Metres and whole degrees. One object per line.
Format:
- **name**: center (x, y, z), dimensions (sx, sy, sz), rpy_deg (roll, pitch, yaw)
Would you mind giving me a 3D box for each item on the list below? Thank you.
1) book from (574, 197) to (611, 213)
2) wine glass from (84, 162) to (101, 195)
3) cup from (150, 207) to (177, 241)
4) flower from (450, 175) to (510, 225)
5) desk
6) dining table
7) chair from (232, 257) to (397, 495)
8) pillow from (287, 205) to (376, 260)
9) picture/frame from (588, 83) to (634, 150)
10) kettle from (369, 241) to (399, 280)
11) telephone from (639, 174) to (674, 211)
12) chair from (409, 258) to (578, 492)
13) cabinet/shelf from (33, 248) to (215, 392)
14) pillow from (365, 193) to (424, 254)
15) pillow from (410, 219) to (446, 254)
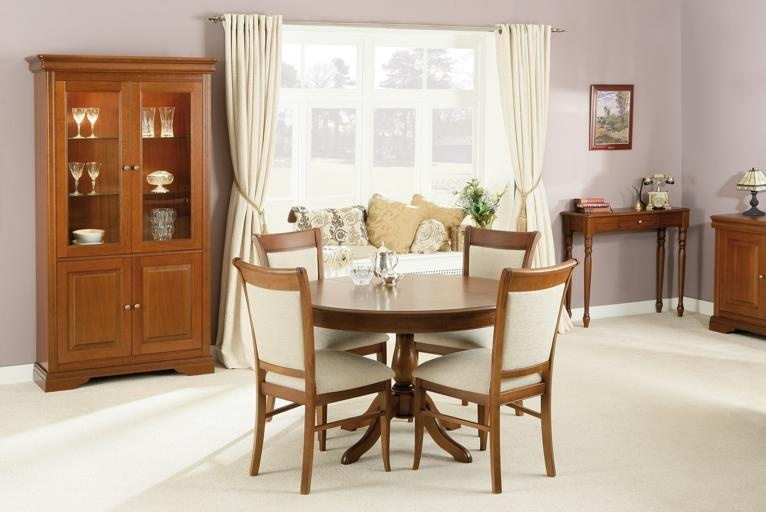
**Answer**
- **book**: center (2.166, -0.518, 6.522), dimensions (0.306, 0.125, 0.297), rpy_deg (-1, 13, -5)
- **wine glass**: center (-2.256, -0.609, 4.962), dimensions (0.113, 0.249, 0.044), rpy_deg (-14, 21, -41)
- **cup**: center (-1.782, -0.251, 5.127), dimensions (0.272, 0.232, 0.206), rpy_deg (1, -1, -18)
- **flower**: center (0.933, -0.511, 6.466), dimensions (0.637, 0.571, 0.510), rpy_deg (-2, 2, -31)
- **desk**: center (2.594, 0.076, 6.776), dimensions (1.344, 1.091, 0.523), rpy_deg (-4, 7, -17)
- **dining table**: center (0.165, 0.770, 4.191), dimensions (1.331, 0.901, 1.226), rpy_deg (-1, -1, 27)
- **chair**: center (-0.371, 0.674, 3.704), dimensions (0.884, 1.297, 0.540), rpy_deg (-4, 16, -13)
- **pillow**: center (-0.463, -0.196, 5.720), dimensions (0.612, 0.363, 0.191), rpy_deg (2, -9, -25)
- **picture/frame**: center (2.412, -1.461, 6.687), dimensions (0.546, 0.675, 0.121), rpy_deg (-5, 16, -19)
- **kettle**: center (0.027, 0.059, 4.407), dimensions (0.263, 0.259, 0.176), rpy_deg (2, 1, 4)
- **telephone**: center (2.928, -0.683, 6.804), dimensions (0.469, 0.396, 0.253), rpy_deg (-1, 6, -5)
- **chair**: center (0.630, 0.672, 3.724), dimensions (0.901, 1.300, 0.589), rpy_deg (3, 15, 13)
- **cabinet/shelf**: center (-2.110, 0.502, 5.014), dimensions (1.244, 0.905, 0.481), rpy_deg (-1, 3, -24)
- **pillow**: center (0.118, -0.319, 6.240), dimensions (0.567, 0.513, 0.252), rpy_deg (17, -2, 15)
- **pillow**: center (0.490, -0.248, 6.209), dimensions (0.351, 0.116, 0.268), rpy_deg (39, 38, 23)
